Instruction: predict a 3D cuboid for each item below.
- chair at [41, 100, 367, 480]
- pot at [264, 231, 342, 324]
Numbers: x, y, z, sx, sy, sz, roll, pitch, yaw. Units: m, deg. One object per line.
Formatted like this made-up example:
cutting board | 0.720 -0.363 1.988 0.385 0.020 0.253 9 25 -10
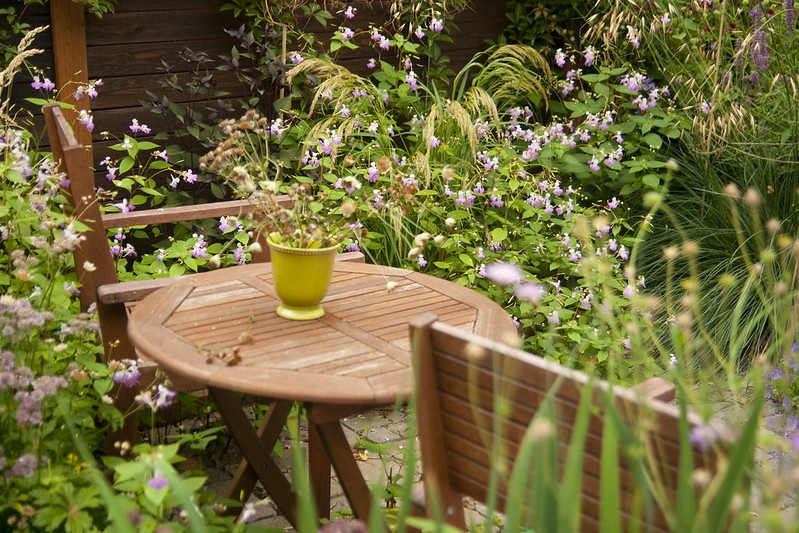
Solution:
chair | -0.817 0.067 2.802 1.321 1.924 1.361 -5 27 -16
pot | -0.322 0.042 2.034 0.257 0.244 0.274 4 13 -1
